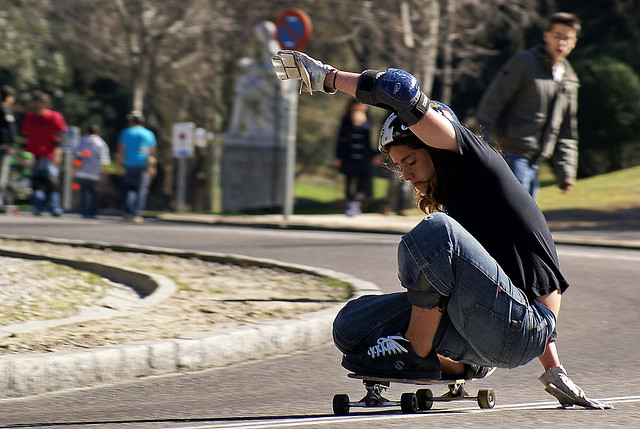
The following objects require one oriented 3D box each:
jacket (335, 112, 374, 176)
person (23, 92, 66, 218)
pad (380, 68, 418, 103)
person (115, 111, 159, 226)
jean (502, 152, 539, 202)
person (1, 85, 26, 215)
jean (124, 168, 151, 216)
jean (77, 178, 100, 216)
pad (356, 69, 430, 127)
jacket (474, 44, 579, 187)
[{"bbox_3d":[0.592,-1.173,21.456,0.732,1.057,0.530,-1,-15,11],"label":"jacket"},{"bbox_3d":[-4.501,-0.983,20.227,0.664,1.964,0.581,-4,12,-13],"label":"person"},{"bbox_3d":[0.676,-1.049,10.069,0.313,0.254,0.275,6,13,32],"label":"pad"},{"bbox_3d":[-3.043,-0.746,20.183,0.616,1.748,0.840,1,12,9],"label":"person"},{"bbox_3d":[2.108,-0.403,12.796,0.386,0.454,0.345,0,11,1],"label":"jean"},{"bbox_3d":[-4.962,-0.998,19.817,0.446,2.008,1.154,-4,12,-13],"label":"person"},{"bbox_3d":[-3.025,-0.355,20.309,0.502,0.839,0.357,-8,14,-31],"label":"jean"},{"bbox_3d":[-3.899,-0.284,20.865,0.343,0.641,0.888,-3,11,-11],"label":"jean"},{"bbox_3d":[0.571,-0.926,10.022,0.619,0.255,0.431,26,35,7],"label":"pad"},{"bbox_3d":[2.184,-1.040,12.927,1.025,1.421,0.529,1,12,7],"label":"jacket"}]
